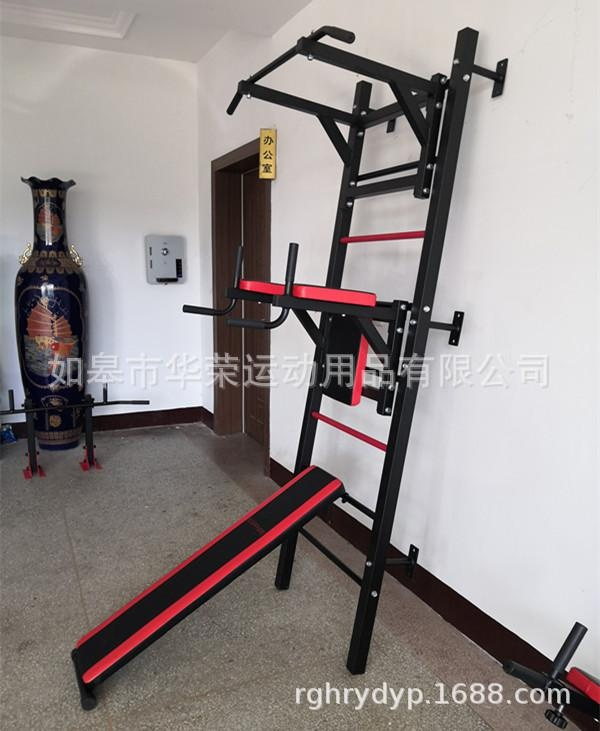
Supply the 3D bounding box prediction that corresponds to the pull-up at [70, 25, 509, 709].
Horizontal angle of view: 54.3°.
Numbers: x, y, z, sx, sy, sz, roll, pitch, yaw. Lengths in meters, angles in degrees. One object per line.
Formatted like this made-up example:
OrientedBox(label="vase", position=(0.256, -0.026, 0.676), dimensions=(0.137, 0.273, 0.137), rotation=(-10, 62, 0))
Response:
OrientedBox(label="pull-up", position=(0.067, -0.027, 1.944), dimensions=(0.776, 2.055, 1.379), rotation=(11, 15, 43))
